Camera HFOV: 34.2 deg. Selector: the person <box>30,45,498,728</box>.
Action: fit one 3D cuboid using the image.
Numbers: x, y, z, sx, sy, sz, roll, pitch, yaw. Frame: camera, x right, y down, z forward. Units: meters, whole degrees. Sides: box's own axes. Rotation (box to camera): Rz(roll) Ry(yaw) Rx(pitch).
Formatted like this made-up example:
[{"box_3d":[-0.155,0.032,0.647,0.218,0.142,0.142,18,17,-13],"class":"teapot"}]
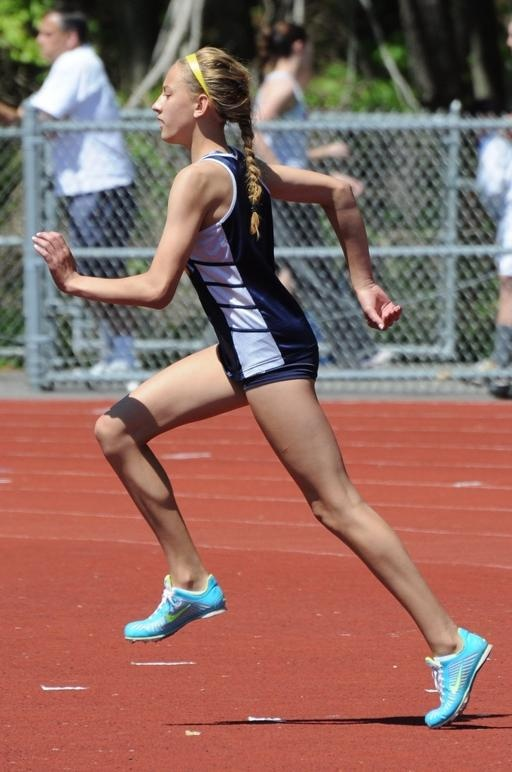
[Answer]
[{"box_3d":[0.023,-0.066,2.029,0.921,1.541,0.743,-1,14,15],"class":"person"}]
